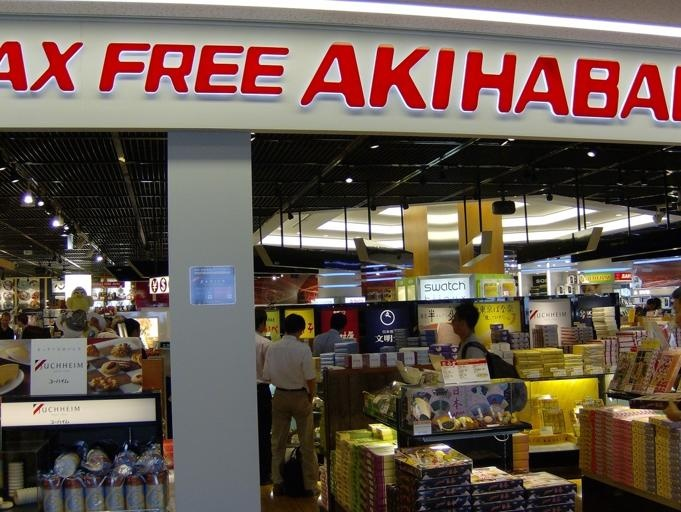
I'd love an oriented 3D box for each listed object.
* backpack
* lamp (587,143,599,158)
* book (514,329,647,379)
[{"bbox_3d":[1.468,1.010,5.170,0.641,0.482,0.344,-3,-2,-7],"label":"backpack"},{"bbox_3d":[3.448,-1.421,7.631,0.168,0.115,0.226,16,19,26],"label":"lamp"},{"bbox_3d":[2.625,1.202,6.520,1.105,0.243,0.700,-2,0,-12],"label":"book"}]
